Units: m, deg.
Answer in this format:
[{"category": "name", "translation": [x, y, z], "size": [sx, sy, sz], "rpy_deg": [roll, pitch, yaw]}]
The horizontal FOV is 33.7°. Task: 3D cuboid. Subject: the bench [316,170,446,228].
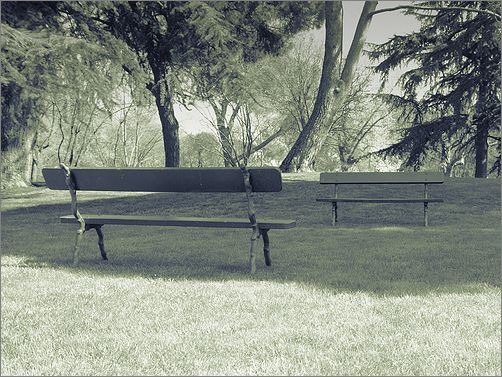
[{"category": "bench", "translation": [3.741, 0.290, 23.863], "size": [3.595, 1.464, 1.018], "rpy_deg": [0, 6, 10]}]
